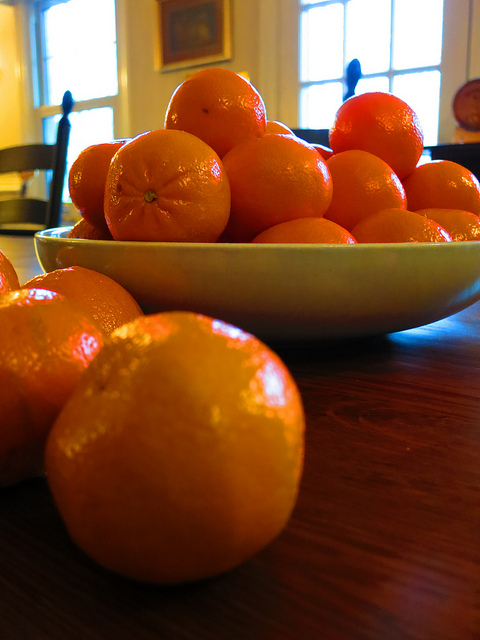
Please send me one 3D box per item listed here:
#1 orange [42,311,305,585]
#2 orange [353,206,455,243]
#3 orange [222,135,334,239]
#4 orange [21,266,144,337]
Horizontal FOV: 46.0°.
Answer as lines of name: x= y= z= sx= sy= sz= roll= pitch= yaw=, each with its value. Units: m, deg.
orange: x=-0.018 y=0.041 z=0.186 sx=0.062 sy=0.064 sz=0.059 roll=9 pitch=21 yaw=-47
orange: x=0.103 y=-0.058 z=0.363 sx=0.038 sy=0.023 sz=0.040 roll=6 pitch=10 yaw=3
orange: x=0.022 y=-0.105 z=0.436 sx=0.079 sy=0.069 sz=0.068 roll=-22 pitch=64 yaw=-10
orange: x=-0.070 y=-0.012 z=0.258 sx=0.043 sy=0.042 sz=0.042 roll=2 pitch=8 yaw=-3
